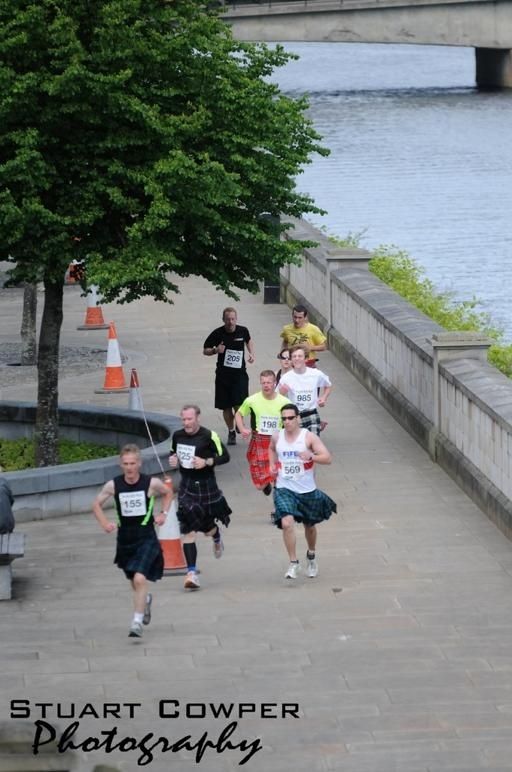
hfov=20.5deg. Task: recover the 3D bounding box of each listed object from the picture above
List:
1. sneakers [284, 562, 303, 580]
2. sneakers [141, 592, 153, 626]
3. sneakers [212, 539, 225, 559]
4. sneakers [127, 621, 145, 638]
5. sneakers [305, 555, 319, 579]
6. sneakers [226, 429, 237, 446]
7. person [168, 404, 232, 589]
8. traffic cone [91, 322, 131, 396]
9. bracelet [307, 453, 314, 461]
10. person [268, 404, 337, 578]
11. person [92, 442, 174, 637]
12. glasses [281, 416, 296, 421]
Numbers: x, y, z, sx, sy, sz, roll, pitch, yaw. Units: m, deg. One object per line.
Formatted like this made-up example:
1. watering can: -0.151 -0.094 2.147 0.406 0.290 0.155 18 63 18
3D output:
1. sneakers: 0.281 1.421 11.040 0.114 0.158 0.250 0 10 1
2. sneakers: -0.772 1.560 9.818 0.066 0.184 0.083 7 20 15
3. sneakers: -0.319 1.308 11.525 0.072 0.201 0.083 -1 16 12
4. sneakers: -0.824 1.644 9.539 0.064 0.075 0.170 9 -15 1
5. sneakers: 0.432 1.424 11.078 0.072 0.198 0.087 -3 -15 2
6. sneakers: -0.283 0.589 16.012 0.163 0.201 0.490 0 -2 -1
7. person: -0.468 0.835 11.061 0.476 1.395 0.866 4 10 19
8. traffic cone: -2.012 -0.400 19.493 0.942 0.895 0.906 0 7 -5
9. bracelet: 0.414 0.545 10.891 0.043 0.054 0.021 4 5 5
10. person: 0.334 0.827 10.943 0.509 1.351 0.500 2 10 9
11. person: -0.876 1.021 10.000 0.541 1.342 1.309 -1 10 -6
12. glasses: 0.256 0.249 10.910 0.108 0.051 0.117 0 10 -1
